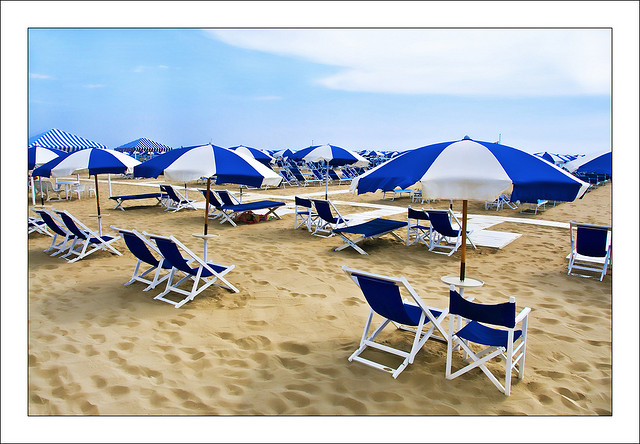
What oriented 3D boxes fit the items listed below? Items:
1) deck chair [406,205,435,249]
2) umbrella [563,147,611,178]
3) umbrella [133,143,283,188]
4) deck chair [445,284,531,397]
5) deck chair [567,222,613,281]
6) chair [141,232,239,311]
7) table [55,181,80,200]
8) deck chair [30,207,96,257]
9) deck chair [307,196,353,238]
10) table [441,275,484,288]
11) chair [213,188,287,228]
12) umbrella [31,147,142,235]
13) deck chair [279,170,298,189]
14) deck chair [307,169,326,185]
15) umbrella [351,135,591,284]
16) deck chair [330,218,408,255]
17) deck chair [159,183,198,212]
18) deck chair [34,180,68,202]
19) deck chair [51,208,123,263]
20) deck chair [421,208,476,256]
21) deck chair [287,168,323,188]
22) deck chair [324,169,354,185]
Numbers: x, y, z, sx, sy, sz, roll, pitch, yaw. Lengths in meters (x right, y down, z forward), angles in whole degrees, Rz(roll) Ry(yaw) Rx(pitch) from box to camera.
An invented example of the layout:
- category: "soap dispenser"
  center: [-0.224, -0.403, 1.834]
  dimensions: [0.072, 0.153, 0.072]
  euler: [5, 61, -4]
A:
- category: "deck chair"
  center: [2.298, 0.085, 10.470]
  dimensions: [0.742, 0.696, 0.631]
  euler: [5, 4, -4]
- category: "umbrella"
  center: [7.091, -1.498, 12.538]
  dimensions: [1.356, 0.493, 1.828]
  euler: [15, 6, 34]
- category: "umbrella"
  center: [-1.791, -0.930, 7.442]
  dimensions: [2.279, 0.729, 1.162]
  euler: [-3, 7, -6]
- category: "deck chair"
  center: [2.095, 1.374, 5.530]
  dimensions: [1.252, 1.166, 1.047]
  euler: [1, 6, 0]
- category: "deck chair"
  center: [4.876, 0.436, 8.377]
  dimensions: [0.982, 1.199, 0.836]
  euler: [1, 14, 28]
- category: "chair"
  center: [-2.122, 0.647, 7.195]
  dimensions: [1.063, 1.108, 1.127]
  euler: [-10, 11, -44]
- category: "table"
  center: [-9.659, -1.198, 17.656]
  dimensions: [1.116, 0.637, 1.106]
  euler: [2, 2, 38]
- category: "deck chair"
  center: [-5.099, 0.230, 9.557]
  dimensions: [1.322, 1.045, 1.110]
  euler: [6, 9, 25]
- category: "deck chair"
  center: [0.227, -0.182, 11.202]
  dimensions: [0.955, 1.011, 1.340]
  euler: [5, 10, 41]
- category: "table"
  center: [1.900, 0.806, 6.190]
  dimensions: [0.536, 0.144, 0.465]
  euler: [0, 4, -9]
- category: "chair"
  center: [-1.846, -0.430, 12.701]
  dimensions: [1.924, 0.660, 1.236]
  euler: [-7, 21, -44]
- category: "umbrella"
  center: [-4.772, -0.707, 10.011]
  dimensions: [2.436, 1.694, 2.097]
  euler: [-7, 8, -21]
- category: "deck chair"
  center: [-1.678, -2.390, 24.857]
  dimensions: [0.511, 0.235, 1.580]
  euler: [-4, 52, -40]
- category: "deck chair"
  center: [-0.157, -2.617, 25.989]
  dimensions: [0.424, 1.101, 0.826]
  euler: [-41, 32, -23]
- category: "umbrella"
  center: [1.947, -0.314, 6.231]
  dimensions: [2.721, 1.402, 2.267]
  euler: [3, 9, 9]
- category: "deck chair"
  center: [1.095, 0.320, 10.089]
  dimensions: [0.879, 0.517, 1.799]
  euler: [3, 8, 38]
- category: "deck chair"
  center: [-4.423, -0.759, 14.491]
  dimensions: [0.577, 0.553, 1.078]
  euler: [2, 4, 36]
- category: "deck chair"
  center: [-10.057, -1.147, 17.191]
  dimensions: [1.314, 0.469, 0.571]
  euler: [10, 15, 39]
- category: "deck chair"
  center: [-4.450, 0.221, 8.829]
  dimensions: [1.025, 0.933, 1.019]
  euler: [-7, 9, -31]
- category: "deck chair"
  center: [2.655, 0.187, 10.040]
  dimensions: [1.075, 1.014, 1.169]
  euler: [-10, 11, -43]
- category: "deck chair"
  center: [-1.303, -2.327, 24.818]
  dimensions: [2.198, 0.898, 1.291]
  euler: [7, 17, 28]
- category: "deck chair"
  center: [0.760, -2.726, 27.254]
  dimensions: [1.012, 0.605, 1.664]
  euler: [-4, 9, -26]
